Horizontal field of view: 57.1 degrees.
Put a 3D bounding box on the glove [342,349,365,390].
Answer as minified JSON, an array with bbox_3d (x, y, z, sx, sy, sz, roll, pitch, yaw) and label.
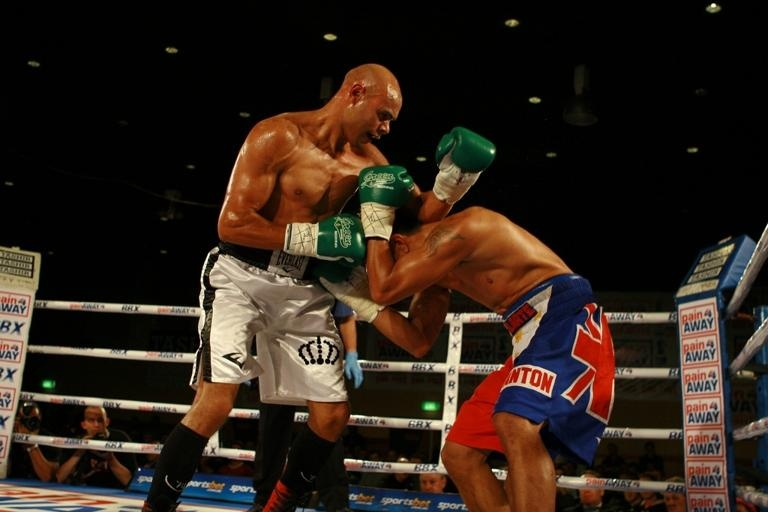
[{"bbox_3d":[-0.258,0.962,5.984,0.240,0.300,0.094,-7,0,-2],"label":"glove"}]
